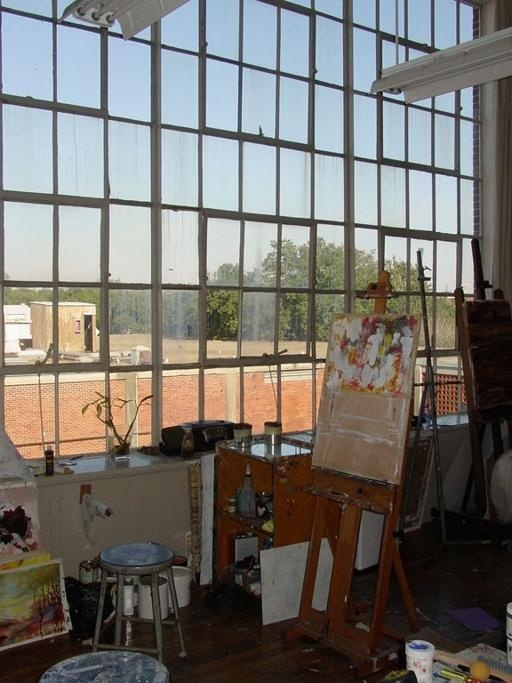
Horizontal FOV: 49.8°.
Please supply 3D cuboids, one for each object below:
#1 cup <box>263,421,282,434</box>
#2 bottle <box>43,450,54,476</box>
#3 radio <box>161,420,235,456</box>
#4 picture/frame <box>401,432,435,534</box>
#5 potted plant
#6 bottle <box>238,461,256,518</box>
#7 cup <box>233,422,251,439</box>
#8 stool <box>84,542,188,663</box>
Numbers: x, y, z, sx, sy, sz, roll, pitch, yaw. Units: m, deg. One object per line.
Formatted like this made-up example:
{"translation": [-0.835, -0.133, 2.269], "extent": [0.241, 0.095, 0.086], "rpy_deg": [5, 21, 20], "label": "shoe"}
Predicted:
{"translation": [0.101, 0.533, 3.330], "extent": [0.101, 0.082, 0.121], "rpy_deg": [-3, 2, -31], "label": "cup"}
{"translation": [-1.100, 0.650, 2.928], "extent": [0.043, 0.120, 0.065], "rpy_deg": [-2, 2, -25], "label": "bottle"}
{"translation": [-0.386, 0.574, 3.492], "extent": [0.231, 0.159, 0.312], "rpy_deg": [-2, -3, -43], "label": "radio"}
{"translation": [1.192, 1.075, 4.053], "extent": [0.195, 0.814, 0.701], "rpy_deg": [-1, 2, 25], "label": "picture/frame"}
{"translation": [-0.888, 0.498, 3.496], "extent": [0.401, 0.441, 0.347], "rpy_deg": [1, -4, -40], "label": "potted plant"}
{"translation": [-0.053, 0.858, 3.176], "extent": [0.099, 0.269, 0.163], "rpy_deg": [-2, 2, -1], "label": "bottle"}
{"translation": [-0.080, 0.524, 3.237], "extent": [0.082, 0.084, 0.086], "rpy_deg": [-1, -1, 0], "label": "cup"}
{"translation": [-0.504, 1.187, 2.416], "extent": [0.324, 0.557, 0.365], "rpy_deg": [-8, 0, 27], "label": "stool"}
